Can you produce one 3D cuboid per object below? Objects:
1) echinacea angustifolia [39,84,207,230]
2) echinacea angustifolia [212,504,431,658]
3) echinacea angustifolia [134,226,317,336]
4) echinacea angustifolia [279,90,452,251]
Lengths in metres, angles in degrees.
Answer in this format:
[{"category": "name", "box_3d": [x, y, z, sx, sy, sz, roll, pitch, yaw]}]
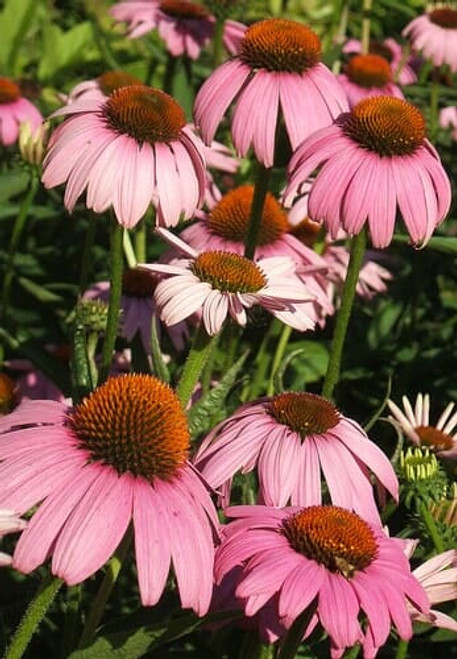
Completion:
[{"category": "echinacea angustifolia", "box_3d": [-0.239, -0.400, 1.577, 0.380, 0.210, 0.379, 32, 23, -3]}, {"category": "echinacea angustifolia", "box_3d": [0.125, 0.491, 1.099, 0.303, 0.120, 0.297, 25, 16, -4]}, {"category": "echinacea angustifolia", "box_3d": [-0.014, -0.102, 1.467, 0.456, 0.123, 0.435, 15, 18, -10]}, {"category": "echinacea angustifolia", "box_3d": [0.327, -0.329, 1.593, 0.395, 0.256, 0.404, 22, 26, -1]}]
